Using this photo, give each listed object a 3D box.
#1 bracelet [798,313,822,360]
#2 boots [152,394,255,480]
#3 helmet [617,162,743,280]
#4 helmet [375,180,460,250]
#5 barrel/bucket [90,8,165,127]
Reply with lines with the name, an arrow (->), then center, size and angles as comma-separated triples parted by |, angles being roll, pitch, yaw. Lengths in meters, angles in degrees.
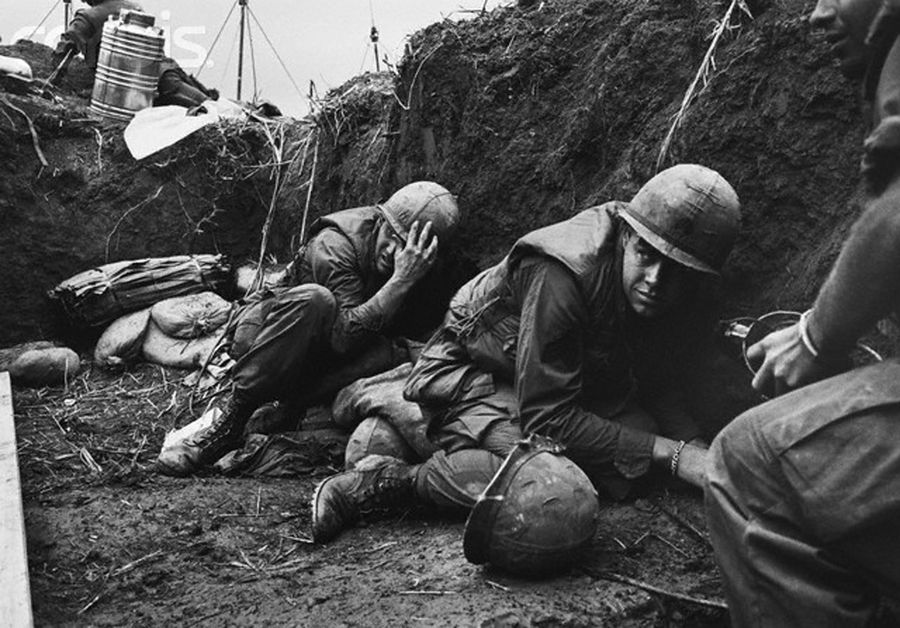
bracelet -> 1.588, 0.100, 3.624 | 0.040, 0.166, 0.166 | -2, 13, -14
boots -> -1.679, 0.768, 5.838 | 0.336, 0.400, 0.920 | 42, 32, 11
helmet -> 1.269, -0.577, 4.556 | 0.482, 0.342, 0.645 | 31, 13, -12
helmet -> -0.266, -0.770, 6.045 | 0.530, 0.294, 0.390 | -1, 54, -51
barrel/bucket -> -3.315, -2.559, 8.319 | 0.679, 1.142, 0.477 | 4, 13, -23
